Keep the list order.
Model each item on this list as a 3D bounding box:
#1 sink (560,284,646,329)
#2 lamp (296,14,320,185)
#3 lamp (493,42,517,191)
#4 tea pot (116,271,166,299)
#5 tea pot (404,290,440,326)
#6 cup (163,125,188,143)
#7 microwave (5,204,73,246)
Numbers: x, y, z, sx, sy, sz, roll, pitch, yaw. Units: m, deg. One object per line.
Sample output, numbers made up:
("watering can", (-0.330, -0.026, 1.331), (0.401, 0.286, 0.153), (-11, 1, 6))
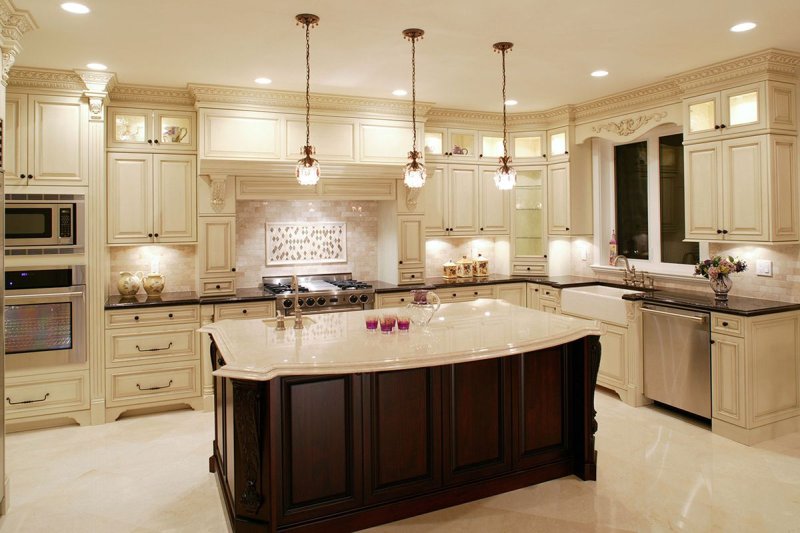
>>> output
("sink", (2.553, 0.469, 6.950), (0.468, 0.246, 0.709), (-5, 9, -28))
("lamp", (-0.872, -1.541, 5.270), (0.271, 1.455, 0.280), (11, 21, 22))
("lamp", (1.097, -1.553, 5.852), (0.284, 1.424, 0.297), (-5, 21, 1))
("tea pot", (-3.131, 0.206, 6.750), (0.511, 0.292, 0.294), (-4, 7, -39))
("tea pot", (0.224, 0.379, 5.188), (0.302, 0.294, 0.246), (2, 1, -8))
("cup", (-2.715, -1.567, 6.733), (0.257, 0.175, 0.155), (4, -6, -42))
("microwave", (-3.897, -0.455, 6.048), (0.764, 0.470, 0.421), (0, 0, -28))
